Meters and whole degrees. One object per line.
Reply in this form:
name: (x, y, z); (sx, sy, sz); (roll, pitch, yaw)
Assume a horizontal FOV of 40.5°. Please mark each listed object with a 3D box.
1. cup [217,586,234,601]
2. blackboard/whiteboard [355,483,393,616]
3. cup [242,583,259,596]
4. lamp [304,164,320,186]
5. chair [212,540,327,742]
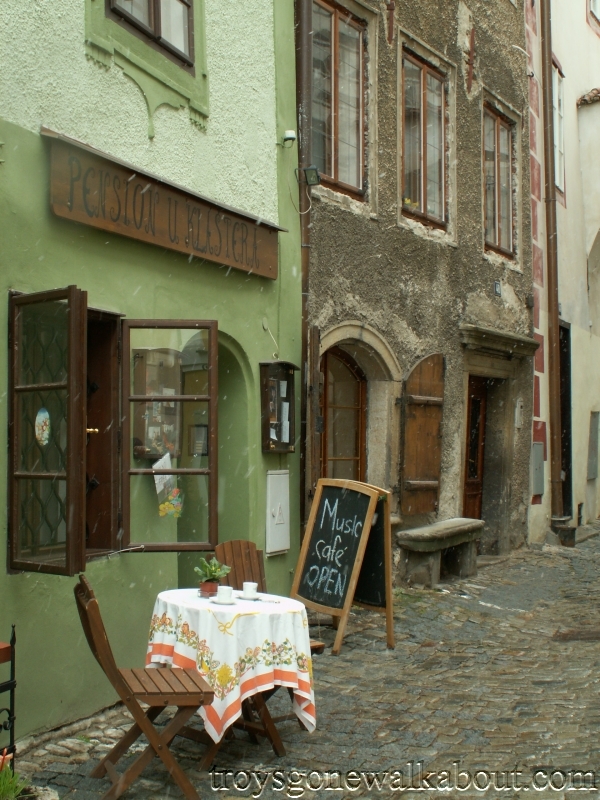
cup: (-0.320, 0.838, 3.574); (0.061, 0.064, 0.057); (-1, 2, 0)
blackboard/whiteboard: (0.542, 1.084, 5.900); (0.143, 0.840, 0.421); (3, -4, -24)
cup: (-0.226, 0.871, 3.772); (0.066, 0.068, 0.064); (1, 2, 0)
lamp: (0.106, -1.878, 6.820); (0.116, 0.189, 0.115); (-6, 13, -24)
chair: (-0.088, 1.415, 4.473); (0.422, 1.343, 0.414); (-7, -15, 6)
